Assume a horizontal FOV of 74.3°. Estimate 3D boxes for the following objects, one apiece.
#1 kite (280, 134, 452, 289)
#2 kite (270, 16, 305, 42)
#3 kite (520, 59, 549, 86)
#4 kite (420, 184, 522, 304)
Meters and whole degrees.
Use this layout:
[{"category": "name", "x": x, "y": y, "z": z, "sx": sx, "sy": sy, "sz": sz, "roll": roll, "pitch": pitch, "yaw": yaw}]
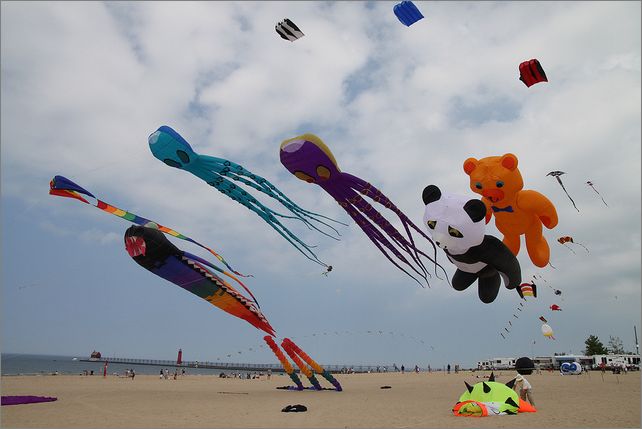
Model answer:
[{"category": "kite", "x": 1.649, "y": -0.685, "z": 16.588, "sx": 2.047, "sy": 7.692, "sz": 1.954, "roll": -52, "pitch": 2, "yaw": 16}, {"category": "kite", "x": -1.632, "y": -9.200, "z": 21.596, "sx": 0.953, "sy": 1.191, "sz": 0.825, "roll": -20, "pitch": -21, "yaw": 23}, {"category": "kite", "x": 10.337, "y": -6.894, "z": 20.712, "sx": 0.938, "sy": 1.089, "sz": 0.831, "roll": -26, "pitch": -24, "yaw": 36}, {"category": "kite", "x": 7.039, "y": 1.705, "z": 20.604, "sx": 3.426, "sy": 6.135, "sz": 4.489, "roll": -29, "pitch": 28, "yaw": -28}]
